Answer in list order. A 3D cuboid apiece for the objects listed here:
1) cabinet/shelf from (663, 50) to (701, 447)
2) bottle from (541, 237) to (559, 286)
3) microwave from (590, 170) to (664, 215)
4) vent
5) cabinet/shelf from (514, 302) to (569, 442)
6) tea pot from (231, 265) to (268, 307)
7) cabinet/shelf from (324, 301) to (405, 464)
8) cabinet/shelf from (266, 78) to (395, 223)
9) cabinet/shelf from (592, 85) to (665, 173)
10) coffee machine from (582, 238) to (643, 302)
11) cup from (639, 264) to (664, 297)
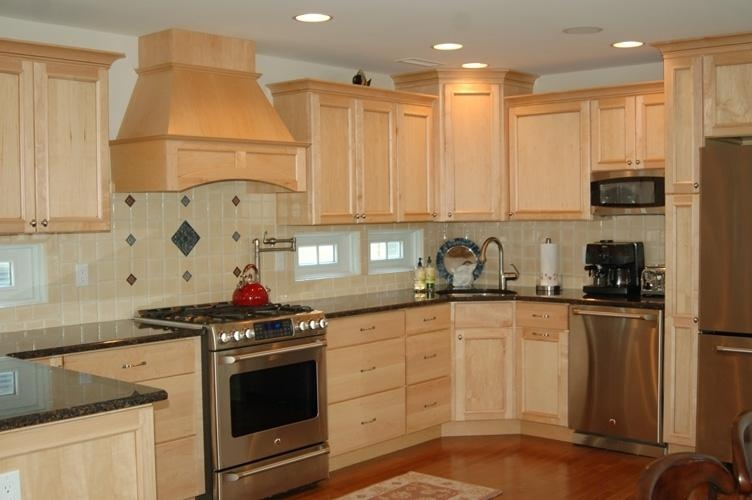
[{"bbox_3d":[2.342,-0.004,4.661,0.269,3.015,0.267,1,7,24],"label":"cabinet/shelf"},{"bbox_3d":[1.613,0.138,5.627,0.168,0.392,0.126,0,6,12],"label":"bottle"},{"bbox_3d":[2.313,-0.504,5.329,0.432,0.369,0.663,-5,6,-42],"label":"microwave"},{"bbox_3d":[-1.237,-0.999,4.507,0.785,0.997,1.380,16,19,35],"label":"vent"},{"bbox_3d":[1.433,0.979,5.255,0.448,1.033,0.121,1,7,23],"label":"cabinet/shelf"},{"bbox_3d":[-0.977,0.263,4.668,0.293,0.278,0.302,5,9,-1],"label":"tea pot"},{"bbox_3d":[0.180,1.135,5.010,0.773,1.082,0.883,21,-33,-38],"label":"cabinet/shelf"},{"bbox_3d":[-0.363,-0.813,5.274,0.564,1.187,1.424,5,9,33],"label":"cabinet/shelf"},{"bbox_3d":[2.159,-1.036,5.264,0.855,0.648,0.303,-7,12,-14],"label":"cabinet/shelf"},{"bbox_3d":[2.096,0.159,5.360,0.566,0.437,0.491,1,0,-11],"label":"coffee machine"},{"bbox_3d":[2.453,0.262,5.218,0.237,0.262,0.221,1,-4,0],"label":"cup"}]
